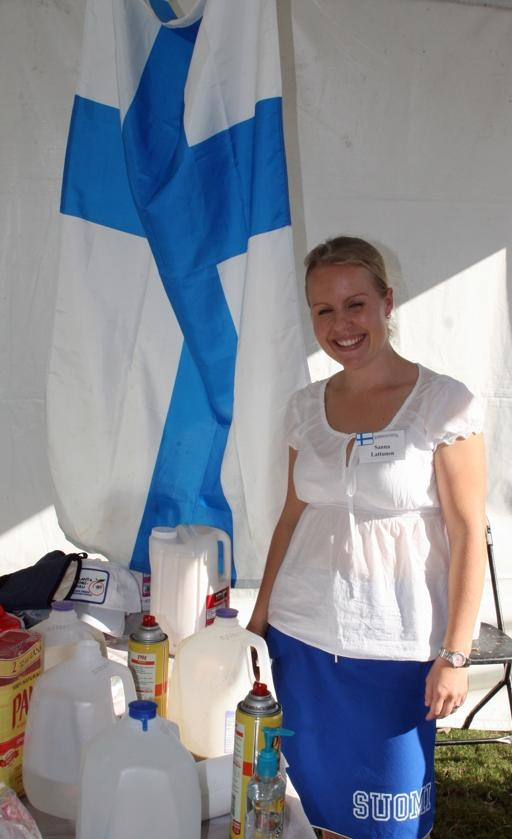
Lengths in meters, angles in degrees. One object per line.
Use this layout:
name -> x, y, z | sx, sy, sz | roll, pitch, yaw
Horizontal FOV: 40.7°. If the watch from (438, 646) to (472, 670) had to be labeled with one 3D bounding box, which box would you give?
watch -> 0.302, 0.364, 1.043 | 0.038, 0.026, 0.038 | 16, -2, -32
